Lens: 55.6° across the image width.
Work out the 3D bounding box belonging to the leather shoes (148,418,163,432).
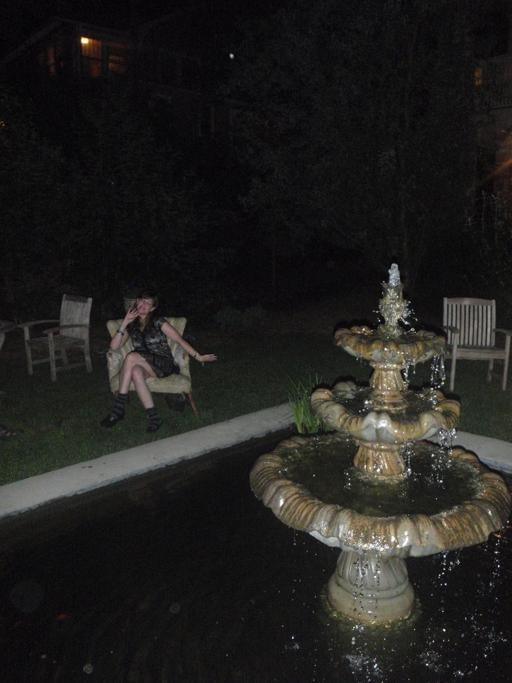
[{"bbox_3d":[-0.972,0.791,4.666,0.126,0.150,0.232,-2,11,-11],"label":"leather shoes"}]

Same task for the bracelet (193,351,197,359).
[{"bbox_3d":[-0.590,0.135,4.726,0.026,0.040,0.103,-1,11,-6],"label":"bracelet"}]

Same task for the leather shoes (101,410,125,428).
[{"bbox_3d":[-1.402,0.774,4.728,0.117,0.099,0.244,9,24,44],"label":"leather shoes"}]
